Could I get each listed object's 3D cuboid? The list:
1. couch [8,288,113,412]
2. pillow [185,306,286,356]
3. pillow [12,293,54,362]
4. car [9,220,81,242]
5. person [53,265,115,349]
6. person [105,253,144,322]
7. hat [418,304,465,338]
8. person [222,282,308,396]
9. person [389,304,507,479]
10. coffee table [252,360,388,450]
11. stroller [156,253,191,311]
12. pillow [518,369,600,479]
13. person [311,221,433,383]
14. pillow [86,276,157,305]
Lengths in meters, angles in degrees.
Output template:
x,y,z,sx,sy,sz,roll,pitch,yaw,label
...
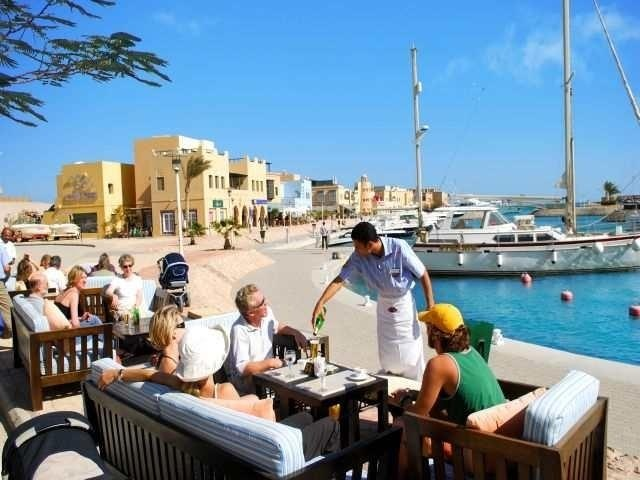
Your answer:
x,y,z,sx,sy,sz,roll,pitch,yaw,label
-3.719,1.424,7.464,1.077,0.940,1.973,1,5,-40,couch
-0.780,1.062,5.967,0.783,0.537,0.800,2,-4,-40,pillow
-3.691,1.082,6.763,0.284,0.834,0.788,0,7,-37,pillow
-21.537,-0.650,41.867,1.585,1.137,4.695,-1,1,39,car
-3.768,1.067,8.294,0.729,1.329,0.538,1,17,-30,person
-3.251,0.798,8.859,0.741,1.412,1.020,1,-7,-17,person
1.085,0.668,4.739,0.287,0.252,0.439,-4,13,-42,hat
-0.586,1.267,5.925,0.925,1.525,0.869,-6,25,-25,person
1.063,1.446,4.656,0.676,1.678,1.127,0,2,-41,person
0.071,1.259,5.074,0.697,0.935,0.907,-7,8,-39,coffee table
-3.279,0.887,11.690,0.738,1.242,0.749,2,2,31,stroller
1.793,1.406,3.967,0.744,0.355,0.235,-22,23,-40,pillow
0.549,0.875,6.351,1.394,2.193,0.866,-8,10,-16,person
-3.719,0.889,10.280,0.862,0.415,0.715,3,2,27,pillow
